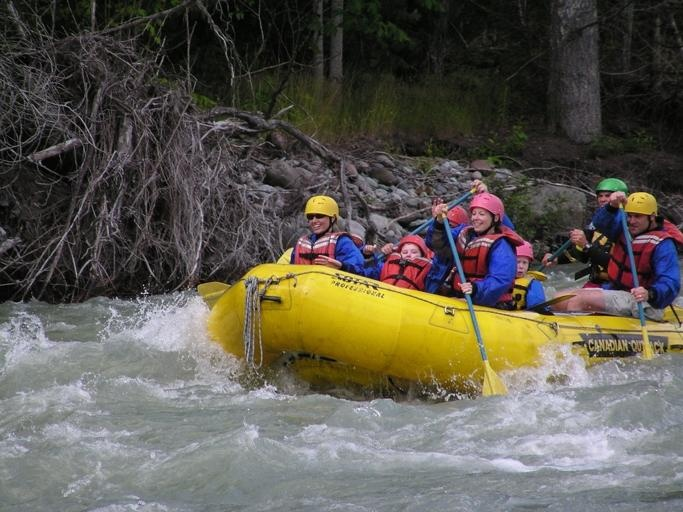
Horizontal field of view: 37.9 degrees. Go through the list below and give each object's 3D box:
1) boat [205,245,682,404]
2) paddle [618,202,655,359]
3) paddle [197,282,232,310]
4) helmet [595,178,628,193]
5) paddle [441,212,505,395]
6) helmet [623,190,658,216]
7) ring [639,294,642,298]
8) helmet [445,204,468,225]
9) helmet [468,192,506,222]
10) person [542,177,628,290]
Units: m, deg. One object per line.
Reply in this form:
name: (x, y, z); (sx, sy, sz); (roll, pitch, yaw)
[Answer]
boat: (0.959, 0.852, 9.915); (3.099, 0.626, 1.766); (15, -13, -28)
paddle: (3.117, 0.292, 10.585); (0.250, 1.580, 0.156); (-3, -13, -17)
paddle: (-1.342, 0.432, 10.608); (0.245, 0.147, 0.341); (-2, 0, 39)
helmet: (3.122, -0.825, 11.367); (0.338, 0.124, 0.243); (16, -11, -29)
paddle: (1.276, 0.605, 9.929); (0.380, 2.082, 0.373); (-20, -14, 5)
helmet: (3.271, -0.582, 10.863); (0.313, 0.243, 0.234); (-20, 22, -20)
ring: (3.129, 0.428, 10.410); (0.022, 0.027, 0.009); (11, -26, 6)
helmet: (1.269, -0.438, 10.809); (0.157, 0.145, 0.243); (18, 3, 11)
helmet: (1.520, -0.483, 10.267); (0.265, 0.259, 0.337); (23, 25, 14)
person: (3.072, -0.237, 12.692); (0.686, 1.813, 0.695); (11, 37, -4)
